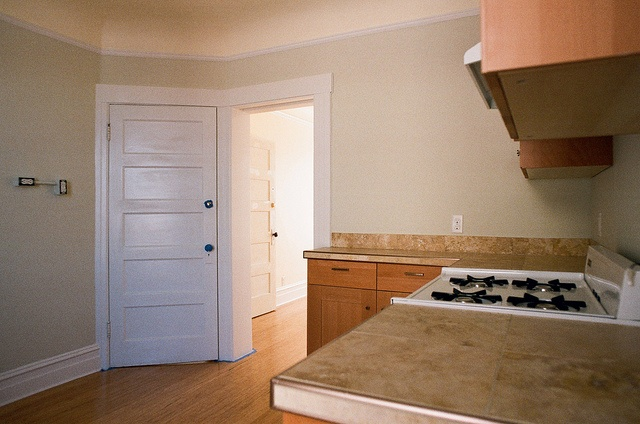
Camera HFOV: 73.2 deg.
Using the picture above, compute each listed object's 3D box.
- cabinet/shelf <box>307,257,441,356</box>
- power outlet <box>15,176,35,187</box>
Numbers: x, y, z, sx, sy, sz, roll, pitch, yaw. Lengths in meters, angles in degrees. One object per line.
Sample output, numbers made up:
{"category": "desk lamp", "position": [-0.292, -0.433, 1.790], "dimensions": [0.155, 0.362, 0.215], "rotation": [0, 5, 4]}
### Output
{"category": "cabinet/shelf", "position": [0.386, 0.886, 3.253], "dimensions": [1.110, 1.017, 0.429], "rotation": [5, -27, -11]}
{"category": "power outlet", "position": [-2.259, -0.236, 3.313], "dimensions": [0.124, 0.077, 0.066], "rotation": [-6, 11, -29]}
